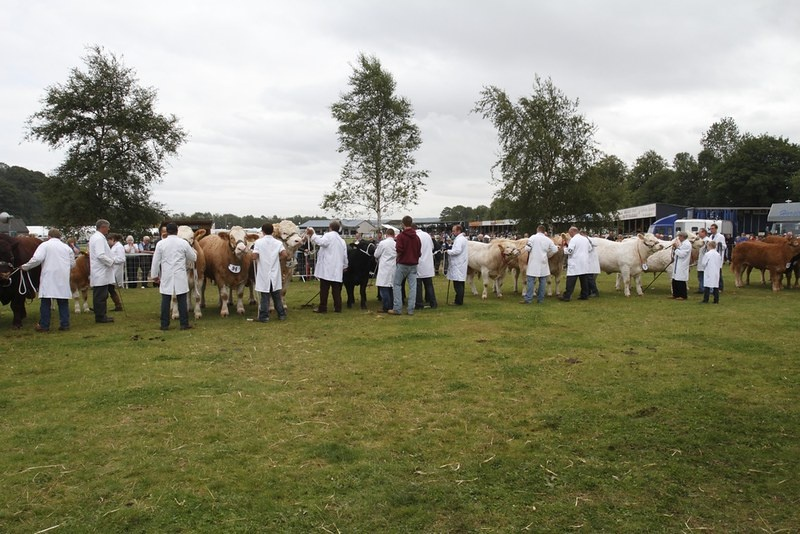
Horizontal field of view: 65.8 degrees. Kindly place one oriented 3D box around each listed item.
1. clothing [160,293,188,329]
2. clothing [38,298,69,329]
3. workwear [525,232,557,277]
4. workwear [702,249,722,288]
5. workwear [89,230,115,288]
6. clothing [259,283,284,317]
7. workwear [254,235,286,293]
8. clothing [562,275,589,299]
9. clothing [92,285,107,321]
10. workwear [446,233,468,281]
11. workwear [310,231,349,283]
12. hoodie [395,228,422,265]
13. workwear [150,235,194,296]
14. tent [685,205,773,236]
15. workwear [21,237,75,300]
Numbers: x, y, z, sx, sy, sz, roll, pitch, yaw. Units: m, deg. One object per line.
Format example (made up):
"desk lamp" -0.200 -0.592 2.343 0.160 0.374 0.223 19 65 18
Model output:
"clothing" -5.685 1.032 15.243 0.637 0.892 1.071 -7 9 -43
"clothing" -8.697 1.131 15.389 0.641 0.813 0.818 -6 9 -40
"workwear" 4.288 -0.362 19.042 0.998 1.300 1.270 4 -11 13
"workwear" 9.297 -0.099 18.450 0.283 0.797 0.318 -19 8 -35
"workwear" -7.828 -0.198 16.165 0.802 1.544 1.223 -5 14 -32
"clothing" -3.421 0.867 16.265 0.942 0.570 1.722 7 10 -12
"workwear" -3.437 -0.085 16.105 0.809 1.473 0.573 -2 7 -12
"clothing" 5.792 0.652 20.330 0.647 0.769 0.326 5 21 6
"clothing" -7.904 0.954 16.246 0.341 0.959 0.367 -4 8 -26
"workwear" 1.698 -0.291 18.482 0.689 1.315 1.096 3 5 9
"workwear" -2.000 -0.284 17.313 0.782 1.380 1.211 -5 -13 36
"hoodie" 0.197 -0.547 16.667 0.964 1.034 0.565 -1 11 -16
"workwear" -5.507 -0.117 14.974 0.764 1.639 0.856 -4 12 -38
"tent" 22.080 -3.061 41.110 3.640 0.916 3.376 -5 11 -20
"workwear" -8.574 0.060 15.088 0.948 1.502 0.567 -5 8 -32
